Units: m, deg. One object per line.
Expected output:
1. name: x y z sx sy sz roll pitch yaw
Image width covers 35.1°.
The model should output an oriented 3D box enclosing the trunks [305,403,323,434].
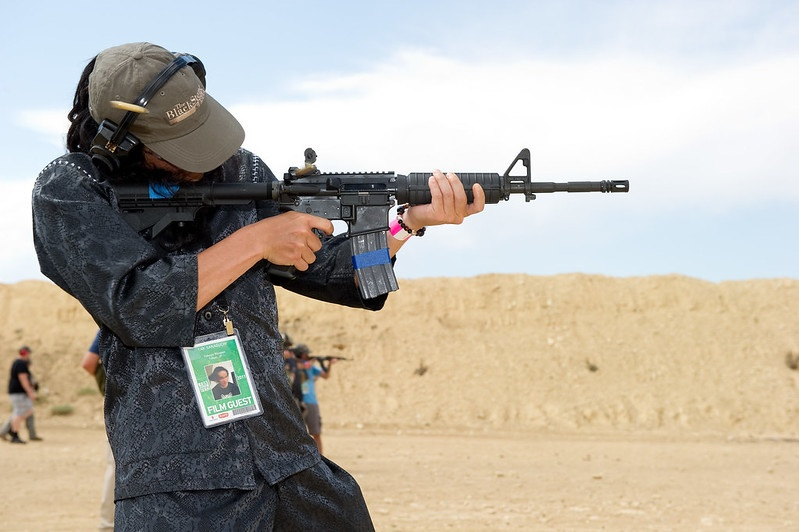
1. trunks: -1.391 2.465 20.023 0.193 0.720 0.283 10 -17 -38
